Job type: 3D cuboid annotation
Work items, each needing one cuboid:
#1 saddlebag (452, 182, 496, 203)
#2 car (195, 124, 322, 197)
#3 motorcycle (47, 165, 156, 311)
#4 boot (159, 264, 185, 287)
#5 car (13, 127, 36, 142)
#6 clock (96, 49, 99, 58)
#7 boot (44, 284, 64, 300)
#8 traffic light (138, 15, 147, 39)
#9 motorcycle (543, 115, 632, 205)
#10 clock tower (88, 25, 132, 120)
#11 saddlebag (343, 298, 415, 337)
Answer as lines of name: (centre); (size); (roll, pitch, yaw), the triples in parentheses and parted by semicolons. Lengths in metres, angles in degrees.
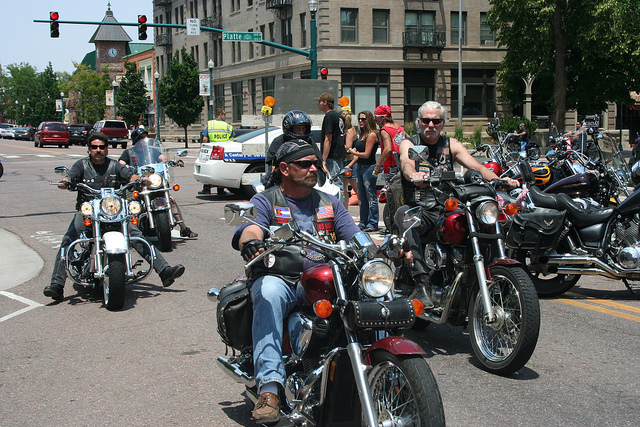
saddlebag: (1.696, -0.228, 6.906); (0.351, 0.144, 0.215); (1, 3, 29)
car: (-1.496, -1.530, 17.615); (3.732, 1.326, 1.731); (-5, 7, -21)
motorcycle: (-3.229, 0.243, 9.426); (1.245, 1.892, 2.472); (-4, 12, -19)
boot: (-2.182, 0.907, 9.165); (0.341, 0.304, 0.174); (-4, 12, -16)
car: (-31.135, -8.248, 65.681); (1.921, 1.280, 1.770); (-5, 12, -24)
clock: (-40.252, -28.756, 112.961); (0.271, 1.383, 0.957); (-7, 13, -31)
boot: (-3.783, 1.101, 8.872); (0.132, 0.146, 0.320); (2, -29, 0)
traffic light: (-7.646, -7.920, 26.817); (0.310, 0.958, 0.893); (-3, 11, -14)
motorcycle: (4.183, -0.847, 10.438); (1.290, 1.395, 2.004); (1, 0, -33)
clock tower: (-37.882, -29.233, 113.129); (6.213, 8.935, 4.218); (-3, 11, -10)
saddlebag: (0.485, 0.841, 5.077); (0.576, 0.292, 0.257); (1, -8, -17)
